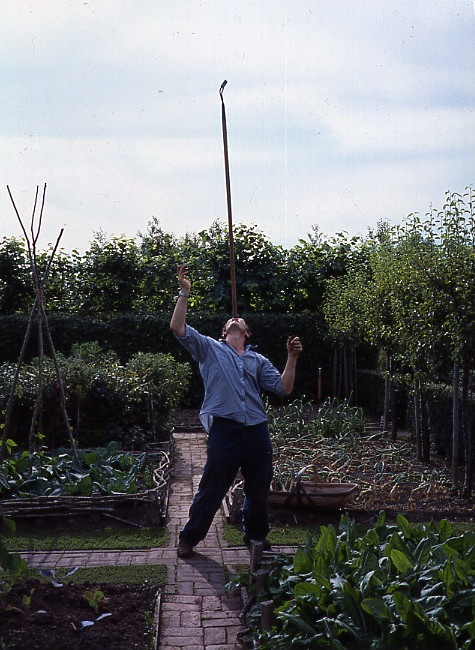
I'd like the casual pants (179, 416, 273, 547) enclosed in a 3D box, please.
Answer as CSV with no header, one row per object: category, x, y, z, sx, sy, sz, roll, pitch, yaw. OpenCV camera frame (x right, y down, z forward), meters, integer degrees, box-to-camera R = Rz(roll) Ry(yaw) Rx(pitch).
casual pants,-0.041,0.835,4.279,0.512,0.907,0.245,2,18,-10

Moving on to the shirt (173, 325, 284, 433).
shirt,-0.076,0.311,4.386,0.752,0.558,0.322,14,-26,-23
